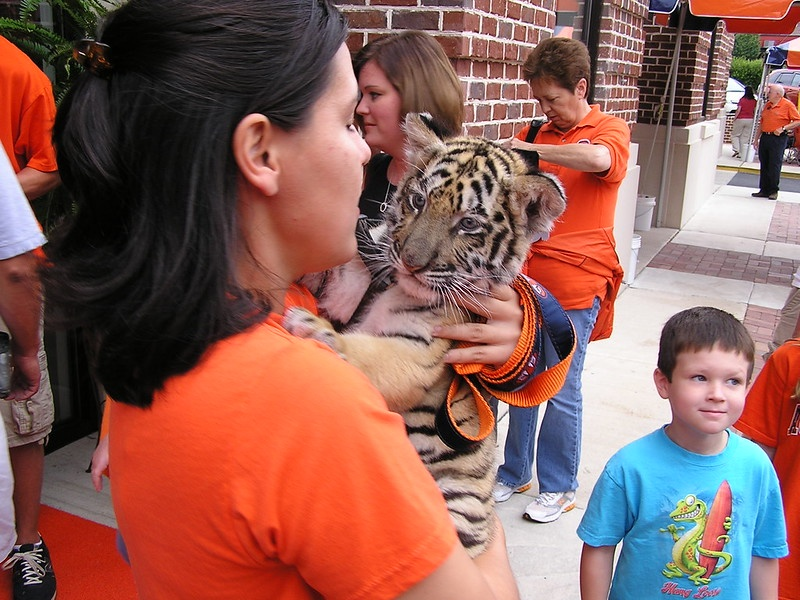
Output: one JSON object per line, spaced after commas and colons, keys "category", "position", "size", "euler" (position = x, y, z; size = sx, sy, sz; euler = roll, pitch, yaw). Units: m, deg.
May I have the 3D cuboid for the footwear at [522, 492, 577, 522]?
{"category": "footwear", "position": [0.980, 1.334, 3.971], "size": [0.356, 0.164, 0.141], "euler": [-3, 30, -22]}

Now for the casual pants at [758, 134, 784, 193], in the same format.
{"category": "casual pants", "position": [9.619, -3.517, 15.820], "size": [0.544, 1.578, 0.884], "euler": [8, 17, 29]}

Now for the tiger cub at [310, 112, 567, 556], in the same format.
{"category": "tiger cub", "position": [0.196, 0.221, 2.076], "size": [0.690, 1.424, 0.559], "euler": [-27, 38, -16]}
